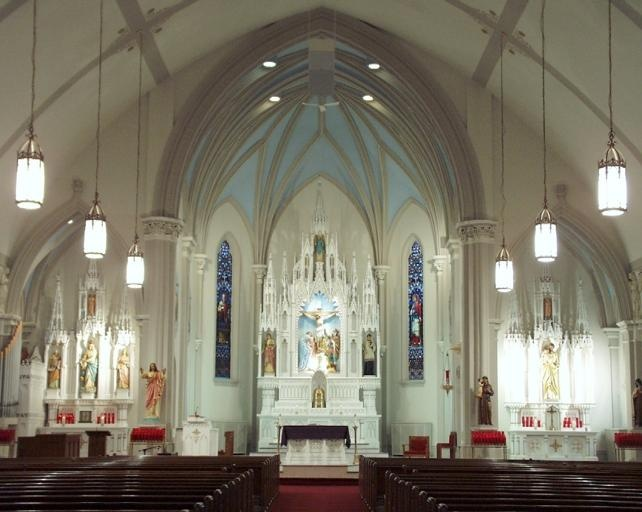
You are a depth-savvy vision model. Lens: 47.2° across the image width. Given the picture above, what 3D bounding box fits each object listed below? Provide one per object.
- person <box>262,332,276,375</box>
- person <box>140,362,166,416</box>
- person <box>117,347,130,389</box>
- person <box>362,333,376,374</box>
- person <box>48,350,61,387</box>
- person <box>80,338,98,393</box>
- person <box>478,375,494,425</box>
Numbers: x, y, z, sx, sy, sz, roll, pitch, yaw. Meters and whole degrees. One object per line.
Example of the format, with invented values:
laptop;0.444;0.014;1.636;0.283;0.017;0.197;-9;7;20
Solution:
person;-1.830;3.378;25.824;0.499;1.501;0.345;0;-15;-2
person;-4.061;3.206;17.707;0.589;1.292;0.679;3;-16;-14
person;-5.104;2.878;18.945;0.343;1.054;0.244;1;-15;-6
person;1.718;3.393;25.839;0.533;1.465;0.187;-2;-15;4
person;-7.070;2.983;19.441;0.428;1.038;0.134;-3;-15;8
person;-6.096;2.879;19.261;0.476;1.493;0.276;0;-15;-3
person;3.952;3.462;17.606;0.384;1.098;0.581;-4;-15;11
